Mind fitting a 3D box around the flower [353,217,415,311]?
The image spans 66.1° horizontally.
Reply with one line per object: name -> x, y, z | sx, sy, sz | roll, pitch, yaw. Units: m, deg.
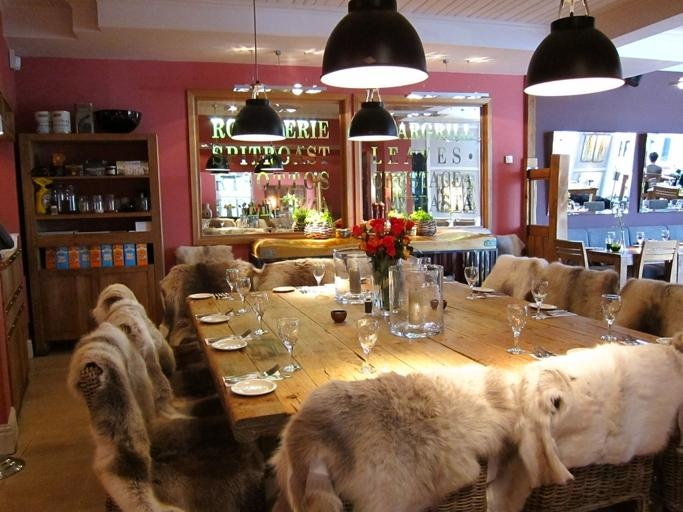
flower -> 0.242, 0.073, 3.074 | 0.352, 0.527, 0.346 | 5, -1, -4

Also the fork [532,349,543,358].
fork -> 0.888, 0.439, 2.356 | 0.022, 0.027, 0.030 | -16, -1, -7

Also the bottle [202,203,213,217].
bottle -> -1.558, -0.522, 6.076 | 0.132, 0.182, 0.134 | 3, 7, 0

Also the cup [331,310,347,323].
cup -> -0.010, 0.341, 2.980 | 0.069, 0.051, 0.071 | 0, -1, 0
